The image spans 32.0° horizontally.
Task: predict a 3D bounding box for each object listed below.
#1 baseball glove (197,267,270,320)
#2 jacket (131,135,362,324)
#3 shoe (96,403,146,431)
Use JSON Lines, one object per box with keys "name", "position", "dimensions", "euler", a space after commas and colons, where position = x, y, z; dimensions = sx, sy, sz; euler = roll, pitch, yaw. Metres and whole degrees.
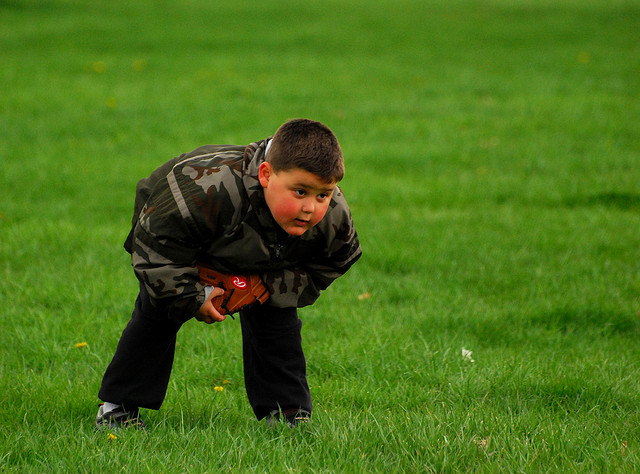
{"name": "baseball glove", "position": [-0.691, 0.410, 8.972], "dimensions": [0.350, 0.181, 0.492], "euler": [43, 47, 22]}
{"name": "jacket", "position": [-0.615, -0.082, 9.392], "dimensions": [1.938, 1.532, 1.408], "euler": [1, 10, -25]}
{"name": "shoe", "position": [-1.678, 1.457, 9.129], "dimensions": [0.447, 0.200, 0.166], "euler": [-2, 3, -2]}
